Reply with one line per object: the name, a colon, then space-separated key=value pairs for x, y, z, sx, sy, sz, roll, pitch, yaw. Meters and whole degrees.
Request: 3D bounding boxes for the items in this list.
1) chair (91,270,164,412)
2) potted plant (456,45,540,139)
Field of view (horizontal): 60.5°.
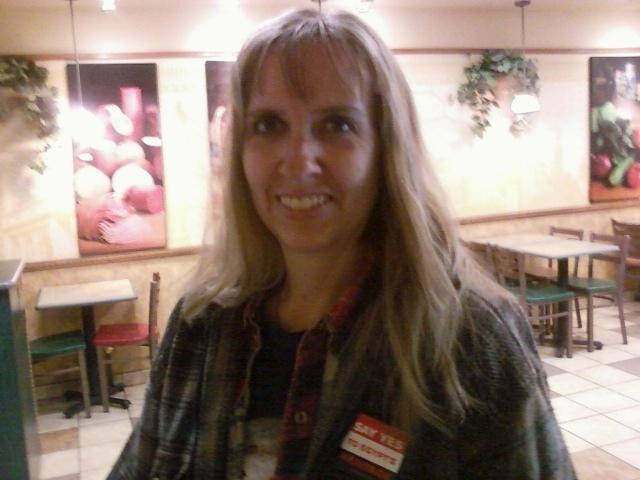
chair: x=-1.576 y=0.864 z=4.599 sx=0.679 sy=0.964 sz=0.698 roll=-7 pitch=8 yaw=-42
potted plant: x=2.042 y=-1.729 z=6.412 sx=0.997 sy=0.987 sz=0.448 roll=6 pitch=-2 yaw=-6
